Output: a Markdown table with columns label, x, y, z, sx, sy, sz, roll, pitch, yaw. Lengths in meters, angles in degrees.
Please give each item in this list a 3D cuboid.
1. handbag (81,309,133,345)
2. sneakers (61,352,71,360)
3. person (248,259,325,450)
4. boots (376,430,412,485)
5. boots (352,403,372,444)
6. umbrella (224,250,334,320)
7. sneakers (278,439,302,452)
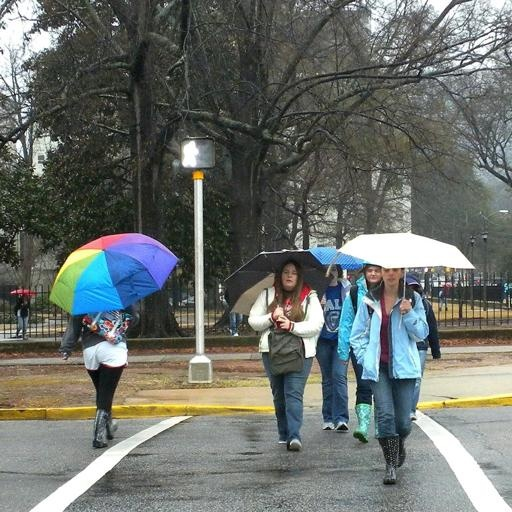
| label | x | y | z | sx | sy | sz | roll | pitch | yaw |
| --- | --- | --- | --- | --- | --- | --- | --- | --- | --- |
| handbag | -1.606 | 0.760 | 9.995 | 0.343 | 0.429 | 0.172 | 2 | 5 | -1 |
| sneakers | -2.143 | 1.119 | 10.249 | 0.075 | 0.116 | 0.248 | -1 | -18 | -7 |
| person | 0.341 | 1.064 | 9.689 | 0.748 | 2.041 | 0.538 | -1 | -1 | 26 |
| boots | 1.305 | 1.919 | 8.679 | 0.217 | 0.440 | 0.520 | -1 | -1 | 13 |
| boots | 1.201 | 1.909 | 10.116 | 0.196 | 0.451 | 0.398 | 1 | -28 | 8 |
| umbrella | 0.156 | 0.219 | 10.363 | 0.829 | 0.327 | 0.936 | -24 | -29 | 14 |
| sneakers | 0.368 | 2.026 | 9.737 | 0.100 | 0.163 | 0.327 | 0 | -7 | -19 |
